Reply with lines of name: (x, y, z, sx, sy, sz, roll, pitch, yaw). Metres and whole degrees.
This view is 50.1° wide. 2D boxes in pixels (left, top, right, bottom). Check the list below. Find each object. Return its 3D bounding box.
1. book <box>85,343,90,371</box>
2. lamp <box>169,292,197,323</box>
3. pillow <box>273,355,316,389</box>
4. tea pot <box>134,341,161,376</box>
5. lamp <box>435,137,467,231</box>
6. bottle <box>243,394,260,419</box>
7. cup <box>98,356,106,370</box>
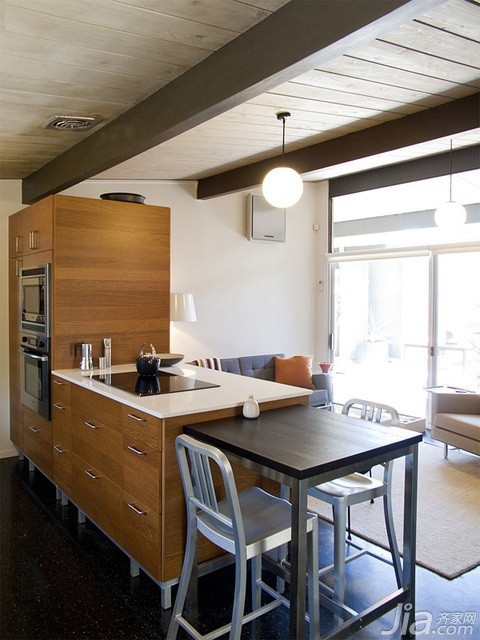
book: (-0.971, 0.234, 3.293, 0.015, 0.160, 0.040, 1, 4, 31)
lamp: (-0.537, -0.118, 4.785, 0.257, 0.256, 0.141, -2, 4, -21)
pillow: (0.526, 0.516, 5.076, 0.337, 0.314, 0.117, 2, -32, 5)
tea pot: (-0.570, 0.229, 3.073, 0.198, 0.260, 0.195, 1, -2, 0)
lamp: (1.919, -1.188, 4.683, 0.223, 0.822, 1.064, 1, 4, 22)
bottle: (0.052, 0.395, 2.352, 0.089, 0.120, 0.088, -1, 1, 0)
cup: (-0.895, 0.283, 3.352, 0.070, 0.096, 0.057, -1, 3, -24)
